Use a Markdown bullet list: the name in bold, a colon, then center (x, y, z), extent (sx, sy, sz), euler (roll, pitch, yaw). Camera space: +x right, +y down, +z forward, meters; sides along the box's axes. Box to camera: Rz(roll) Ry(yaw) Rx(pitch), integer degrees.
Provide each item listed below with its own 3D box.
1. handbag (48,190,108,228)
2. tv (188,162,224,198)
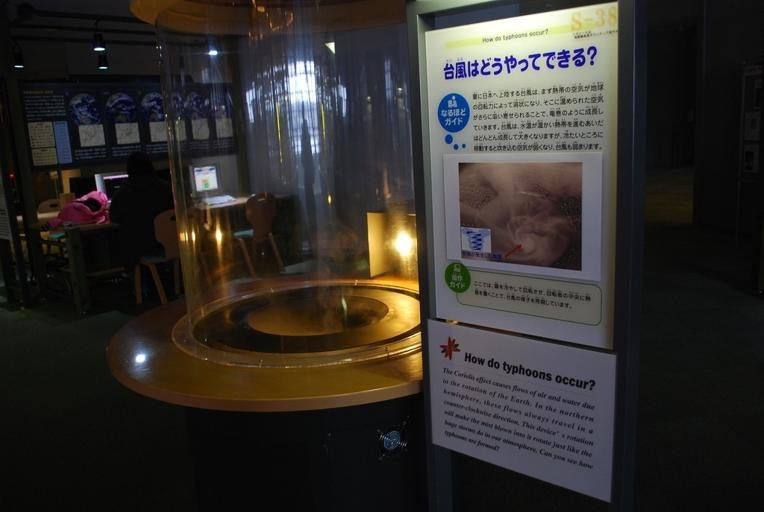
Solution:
- **handbag**: center (-3.079, -0.464, 5.514), extent (0.511, 0.223, 0.407), euler (-10, 16, -24)
- **tv**: center (-0.620, -0.277, 1.908), extent (0.103, 0.107, 0.060), euler (3, 20, 24)
